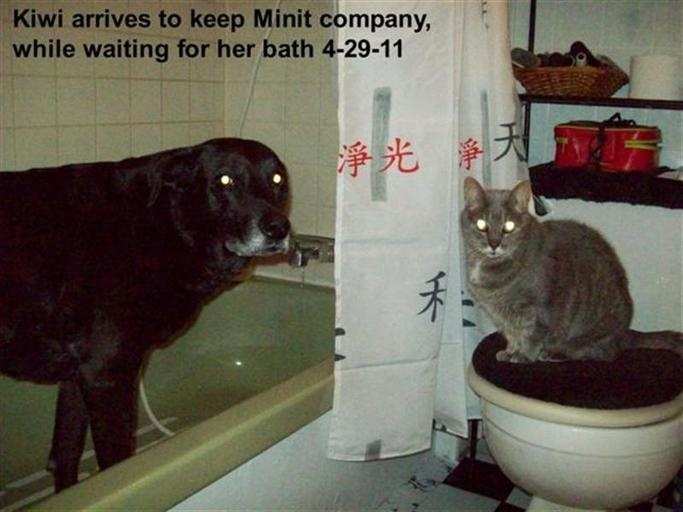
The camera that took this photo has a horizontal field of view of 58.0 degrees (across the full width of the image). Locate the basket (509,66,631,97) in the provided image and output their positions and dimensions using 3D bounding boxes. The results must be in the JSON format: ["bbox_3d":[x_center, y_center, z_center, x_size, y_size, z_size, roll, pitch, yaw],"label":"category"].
[{"bbox_3d":[0.727,-0.574,1.961,0.350,0.112,0.124,2,11,18],"label":"basket"}]

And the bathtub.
[{"bbox_3d":[-0.476,0.296,1.777,0.533,0.287,0.842,5,4,21],"label":"bathtub"}]
